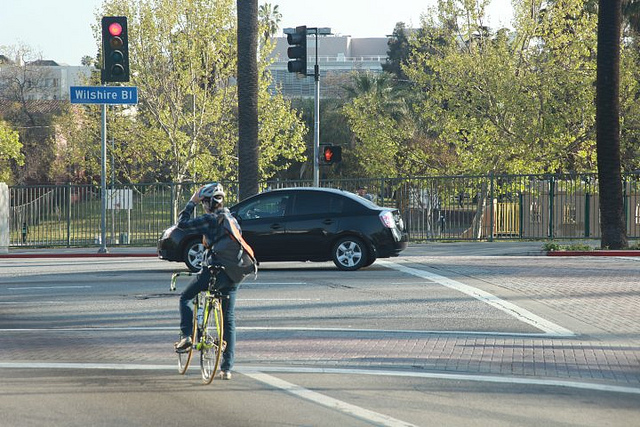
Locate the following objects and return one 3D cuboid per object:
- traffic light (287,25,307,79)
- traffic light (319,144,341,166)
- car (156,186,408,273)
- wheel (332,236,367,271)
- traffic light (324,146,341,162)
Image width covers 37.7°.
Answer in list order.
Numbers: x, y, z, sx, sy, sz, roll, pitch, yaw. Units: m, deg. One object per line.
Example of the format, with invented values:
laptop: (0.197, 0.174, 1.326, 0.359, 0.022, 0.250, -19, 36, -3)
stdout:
traffic light: (-0.749, -5.226, 30.396, 0.583, 1.643, 1.203, 1, 11, 7)
traffic light: (0.421, -2.060, 32.629, 0.695, 0.695, 0.685, 4, 23, 28)
car: (-0.816, 0.518, 25.279, 8.035, 2.898, 3.004, 0, 0, 1)
wheel: (0.843, 1.084, 26.431, 0.784, 0.794, 0.274, -14, 2, 2)
traffic light: (0.433, -2.058, 32.400, 0.527, 0.535, 0.123, 2, 7, 13)
